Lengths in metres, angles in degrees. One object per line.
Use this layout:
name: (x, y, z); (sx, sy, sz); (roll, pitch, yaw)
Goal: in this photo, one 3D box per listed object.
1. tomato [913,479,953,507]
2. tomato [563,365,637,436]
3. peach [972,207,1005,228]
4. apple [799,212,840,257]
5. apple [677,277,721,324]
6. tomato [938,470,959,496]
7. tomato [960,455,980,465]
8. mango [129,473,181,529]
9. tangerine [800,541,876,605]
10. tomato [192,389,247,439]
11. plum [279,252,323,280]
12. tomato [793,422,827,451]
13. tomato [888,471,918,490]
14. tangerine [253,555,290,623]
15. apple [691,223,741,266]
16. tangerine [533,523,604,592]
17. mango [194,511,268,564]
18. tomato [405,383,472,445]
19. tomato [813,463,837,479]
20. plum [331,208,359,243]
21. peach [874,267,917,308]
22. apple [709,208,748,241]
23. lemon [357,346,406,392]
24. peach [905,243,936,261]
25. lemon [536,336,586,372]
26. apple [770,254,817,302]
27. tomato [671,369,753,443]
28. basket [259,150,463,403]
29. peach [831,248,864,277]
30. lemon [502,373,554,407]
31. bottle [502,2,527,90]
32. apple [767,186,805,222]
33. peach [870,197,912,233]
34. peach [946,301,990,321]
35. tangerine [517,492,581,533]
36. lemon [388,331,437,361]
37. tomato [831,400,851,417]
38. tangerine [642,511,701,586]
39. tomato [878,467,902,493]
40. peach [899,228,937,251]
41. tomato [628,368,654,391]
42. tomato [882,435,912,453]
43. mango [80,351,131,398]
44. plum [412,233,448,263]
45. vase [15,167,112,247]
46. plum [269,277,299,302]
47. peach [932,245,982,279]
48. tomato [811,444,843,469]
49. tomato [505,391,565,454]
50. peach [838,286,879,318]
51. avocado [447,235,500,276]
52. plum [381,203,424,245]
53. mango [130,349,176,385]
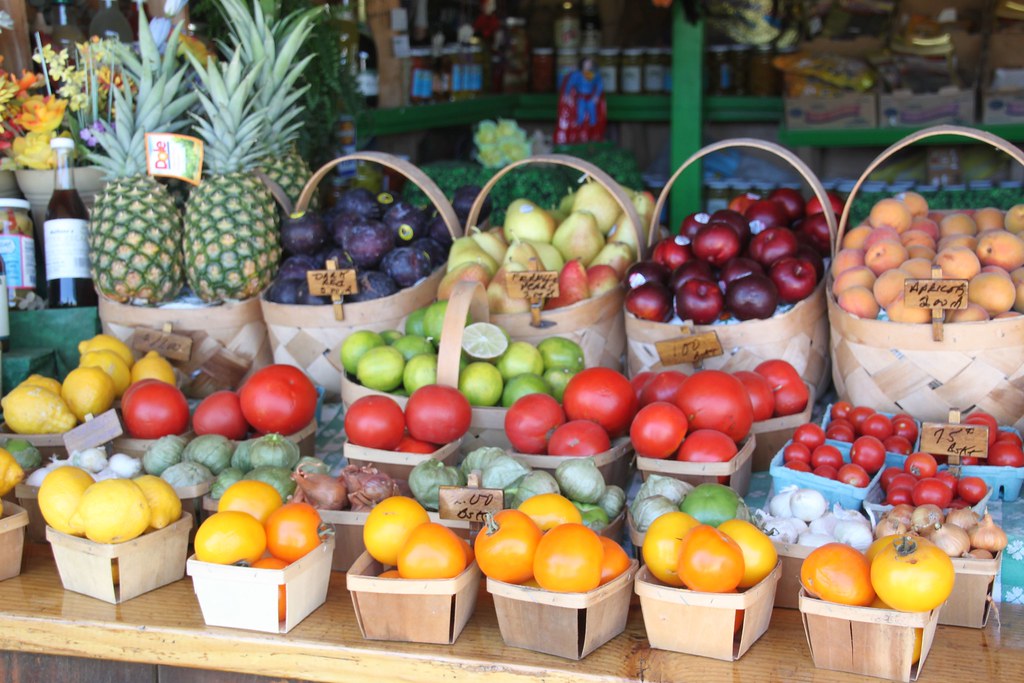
tomato: (1.186, 0.428, 2.272); (0.076, 0.078, 0.081); (3, -4, -38)
tomato: (0.267, 0.172, 2.543); (0.206, 0.221, 0.204); (-6, 14, -3)
peach: (1.844, -0.475, 3.111); (0.088, 0.114, 0.092); (-2, -1, 3)
apple: (1.242, -0.440, 3.311); (0.152, 0.153, 0.149); (-16, -8, 14)
apple: (0.673, -0.146, 2.963); (0.143, 0.156, 0.150); (6, 19, 5)
tomato: (1.269, 0.412, 2.348); (0.061, 0.065, 0.062); (-2, 2, 6)
tomato: (1.403, 0.362, 2.468); (0.029, 0.037, 0.030); (10, 11, 11)
mango: (-0.995, 0.449, 2.272); (0.143, 0.117, 0.108); (14, 2, 41)
tangerine: (0.795, 0.571, 1.956); (0.145, 0.119, 0.122); (-5, 12, -16)
tomato: (-0.958, 0.260, 2.636); (0.180, 0.152, 0.190); (-5, 12, -19)
plum: (-0.848, -0.298, 3.231); (0.130, 0.108, 0.103); (5, -1, 13)
tomato: (0.934, 0.296, 2.534); (0.076, 0.085, 0.082); (3, 0, 22)
tomato: (1.144, 0.409, 2.355); (0.049, 0.063, 0.051); (4, -18, 22)
tangerine: (-0.614, 0.645, 2.115); (0.134, 0.171, 0.137); (-2, -9, -18)
apple: (0.776, -0.375, 3.070); (0.156, 0.168, 0.152); (1, 7, 5)
tangerine: (0.134, 0.538, 2.023); (0.155, 0.151, 0.158); (17, 50, 16)
mango: (-0.749, 0.532, 2.142); (0.155, 0.158, 0.140); (9, -15, -18)
tomato: (-0.230, 0.230, 2.458); (0.177, 0.175, 0.171); (1, 5, 4)
tomato: (0.936, 0.386, 2.397); (0.044, 0.046, 0.045); (0, -7, 16)
plum: (-0.691, -0.478, 3.294); (0.114, 0.148, 0.119); (2, 4, 12)
peach: (1.289, -0.186, 2.743); (0.111, 0.139, 0.112); (9, -15, -3)
apple: (0.862, -0.459, 3.209); (0.129, 0.144, 0.138); (-1, 3, 23)
lemon: (-0.440, 0.102, 2.789); (0.151, 0.126, 0.125); (-1, -26, 11)
peach: (1.462, -0.319, 2.871); (0.060, 0.047, 0.081); (1, 6, 2)
lemon: (0.167, 0.041, 2.837); (0.117, 0.137, 0.132); (-1, 4, 5)
apple: (1.046, -0.238, 2.986); (0.171, 0.186, 0.172); (-1, -6, 1)
tomato: (0.634, 0.187, 2.532); (0.199, 0.227, 0.223); (20, 55, 31)
basket: (-0.456, -0.259, 3.472); (0.700, 1.027, 0.985); (1, -1, 17)
peach: (1.225, -0.286, 2.949); (0.092, 0.105, 0.102); (-3, -10, 29)
lemon: (0.051, 0.143, 2.635); (0.112, 0.145, 0.117); (6, 1, -1)
bottle: (0.009, -2.768, 7.742); (0.334, 0.710, 0.213); (-9, 13, -35)
apple: (1.181, -0.589, 3.486); (0.139, 0.148, 0.142); (-3, 2, 28)
peach: (1.431, -0.475, 3.074); (0.134, 0.143, 0.130); (5, 8, 15)
peach: (1.508, -0.089, 2.661); (0.073, 0.095, 0.076); (7, 3, 13)
tangerine: (0.104, 0.446, 2.110); (0.101, 0.064, 0.111); (3, -2, -21)
lemon: (-0.342, 0.017, 2.797); (0.113, 0.095, 0.087); (-2, -7, -17)
tomato: (1.099, 0.226, 2.705); (0.049, 0.050, 0.049); (10, 1, -36)
tangerine: (0.389, 0.538, 2.098); (0.149, 0.167, 0.168); (-16, -31, 21)
tomato: (1.125, 0.420, 2.413); (0.056, 0.073, 0.061); (1, -2, 6)
peach: (1.499, -0.380, 2.978); (0.094, 0.057, 0.075); (5, 0, 27)
tomato: (0.440, 0.131, 2.748); (0.062, 0.080, 0.065); (2, 1, 13)
tomato: (1.208, 0.326, 2.526); (0.055, 0.057, 0.070); (-21, 38, 32)
mango: (-1.435, 0.139, 2.871); (0.118, 0.145, 0.122); (-5, 22, 48)
plum: (-0.341, -0.381, 3.364); (0.123, 0.101, 0.097); (14, -6, 0)
vase: (-1.927, -0.578, 3.545); (0.336, 0.400, 0.342); (-3, 6, -22)
plum: (-0.900, -0.195, 3.201); (0.108, 0.089, 0.086); (-2, -18, 13)
peach: (1.512, -0.270, 2.755); (0.122, 0.128, 0.119); (1, 9, 10)
tomato: (0.958, 0.351, 2.448); (0.069, 0.075, 0.067); (1, 3, 9)
tomato: (0.070, 0.250, 2.542); (0.163, 0.177, 0.166); (7, 0, 36)
peach: (1.199, -0.136, 2.786); (0.108, 0.113, 0.105); (9, 4, 12)
avocado: (-0.165, -0.358, 3.221); (0.135, 0.106, 0.178); (2, 28, -9)
plum: (-0.451, -0.490, 3.368); (0.132, 0.145, 0.172); (-7, 20, -45)
mango: (-1.293, 0.102, 2.908); (0.119, 0.153, 0.122); (4, -31, -18)
